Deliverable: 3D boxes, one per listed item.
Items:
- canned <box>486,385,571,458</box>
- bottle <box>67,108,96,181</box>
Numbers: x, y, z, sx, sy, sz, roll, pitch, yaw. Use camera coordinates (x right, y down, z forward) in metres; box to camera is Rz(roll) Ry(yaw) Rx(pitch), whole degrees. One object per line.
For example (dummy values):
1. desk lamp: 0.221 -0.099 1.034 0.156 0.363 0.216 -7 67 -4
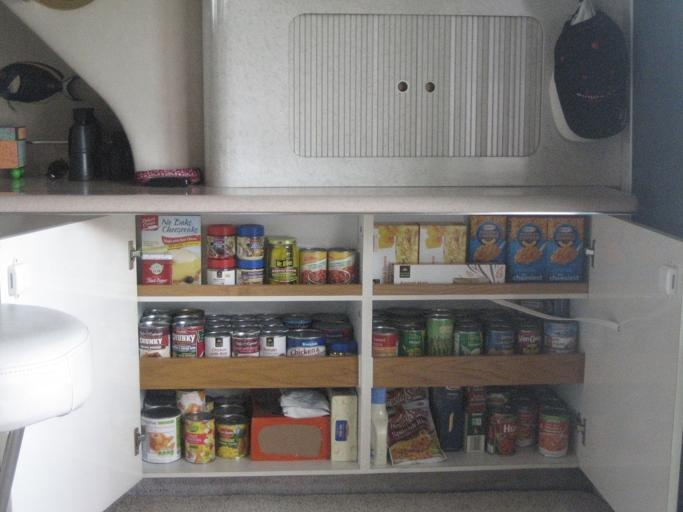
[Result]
1. canned: 0.552 0.485 1.972 0.276 0.165 0.143 1 6 5
2. bottle: -0.810 -0.342 2.064 0.083 0.222 0.140 -8 7 -42
